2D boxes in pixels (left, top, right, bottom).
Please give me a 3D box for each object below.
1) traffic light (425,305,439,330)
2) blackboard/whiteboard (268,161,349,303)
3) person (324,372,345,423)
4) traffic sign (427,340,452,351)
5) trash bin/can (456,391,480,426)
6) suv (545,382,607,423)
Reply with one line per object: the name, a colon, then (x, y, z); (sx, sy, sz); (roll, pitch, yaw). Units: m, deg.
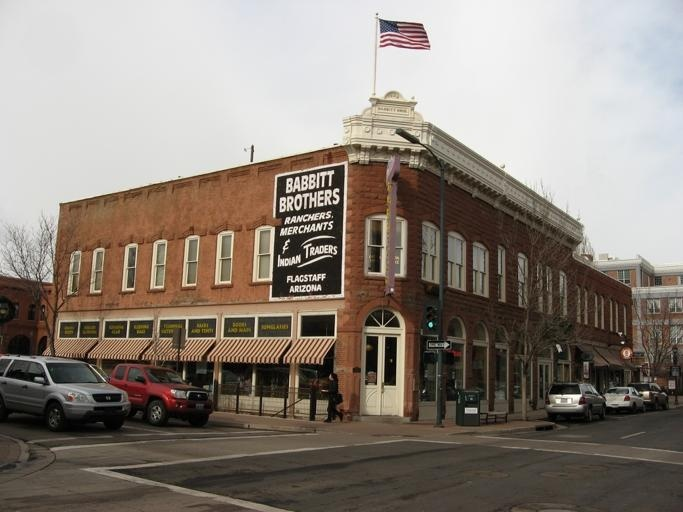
traffic light: (3.723, 2.467, 26.550); (0.467, 0.973, 1.852); (1, -8, 9)
blackboard/whiteboard: (-1.331, -0.972, 29.358); (5.434, 8.088, 0.098); (-8, -14, 43)
person: (-0.230, 5.691, 26.453); (0.676, 1.929, 1.188); (2, -7, 2)
traffic sign: (3.861, 3.539, 26.155); (1.044, 0.635, 0.254); (2, 1, 12)
trash bin/can: (5.094, 6.103, 26.381); (0.894, 1.416, 0.443); (0, -7, 15)
suv: (11.395, 7.098, 31.991); (1.615, 1.841, 3.558); (-4, -10, 40)
